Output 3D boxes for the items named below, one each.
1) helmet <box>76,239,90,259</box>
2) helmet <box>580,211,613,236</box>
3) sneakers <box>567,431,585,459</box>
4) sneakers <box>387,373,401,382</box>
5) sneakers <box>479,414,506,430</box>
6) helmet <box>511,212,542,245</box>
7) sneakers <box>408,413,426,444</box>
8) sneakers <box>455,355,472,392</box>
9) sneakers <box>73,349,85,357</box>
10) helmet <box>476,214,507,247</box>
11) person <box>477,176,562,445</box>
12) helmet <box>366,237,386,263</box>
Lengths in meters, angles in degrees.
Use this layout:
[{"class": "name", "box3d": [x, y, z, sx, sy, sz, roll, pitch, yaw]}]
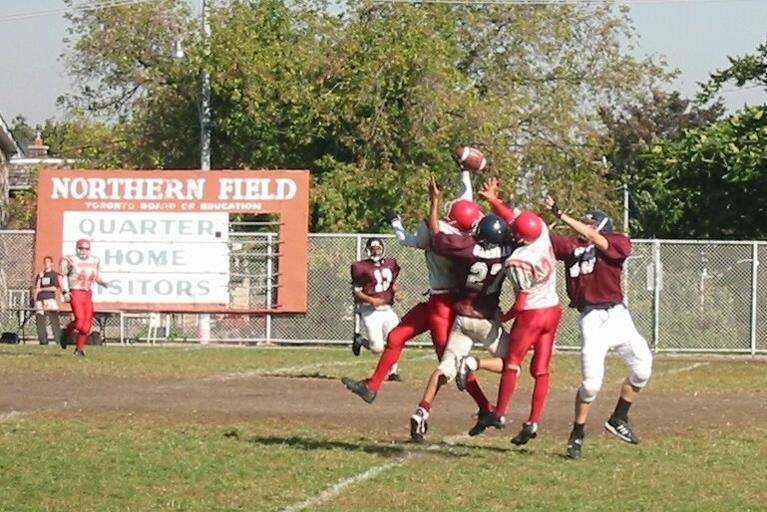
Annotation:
[{"class": "helmet", "box3d": [-7.229, -0.161, 27.099, 0.412, 0.460, 0.502, 1, -8, -12]}, {"class": "helmet", "box3d": [3.604, -0.561, 18.984, 0.507, 0.252, 0.355, 34, 15, 12]}, {"class": "sneakers", "box3d": [3.196, 3.118, 18.707, 0.287, 0.517, 0.254, -1, -2, -1]}, {"class": "sneakers", "box3d": [0.252, 2.639, 24.247, 0.266, 0.159, 0.142, -6, -6, 33]}, {"class": "sneakers", "box3d": [1.793, 2.741, 18.516, 0.534, 0.230, 0.184, 4, 1, -2]}, {"class": "helmet", "box3d": [2.363, -0.461, 18.406, 0.524, 0.544, 0.509, -2, -4, -23]}, {"class": "sneakers", "box3d": [0.565, 2.888, 18.510, 0.237, 0.584, 0.263, -1, 41, 10]}, {"class": "sneakers", "box3d": [1.327, 1.926, 18.351, 0.302, 0.551, 0.213, -4, -9, 13]}, {"class": "sneakers", "box3d": [-7.133, 2.303, 26.416, 0.168, 0.157, 0.236, 9, -4, -5]}, {"class": "helmet", "box3d": [1.826, -0.452, 18.480, 0.428, 0.462, 0.546, 22, 30, 4]}, {"class": "person", "box3d": [2.372, 1.200, 18.408, 1.074, 3.805, 0.608, -1, -2, 1]}, {"class": "helmet", "box3d": [-0.172, -0.116, 23.784, 0.392, 0.470, 0.494, 0, -5, -3]}]
